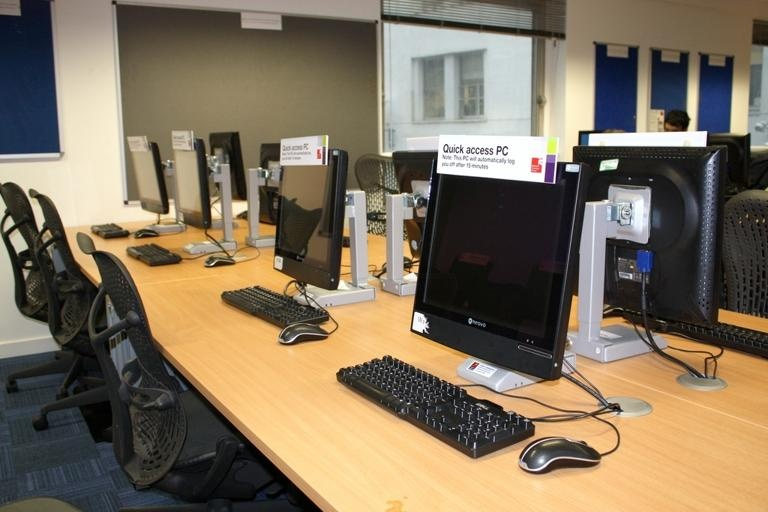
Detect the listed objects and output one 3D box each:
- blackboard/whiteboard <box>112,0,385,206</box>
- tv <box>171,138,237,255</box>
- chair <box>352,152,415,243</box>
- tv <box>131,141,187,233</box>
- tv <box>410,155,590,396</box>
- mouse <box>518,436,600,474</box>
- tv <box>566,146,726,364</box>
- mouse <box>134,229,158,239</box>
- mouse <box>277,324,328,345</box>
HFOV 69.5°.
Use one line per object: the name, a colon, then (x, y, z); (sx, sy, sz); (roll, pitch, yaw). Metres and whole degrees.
blackboard/whiteboard: (-1.209, -1.283, 4.450); (2.205, 1.517, 0.083); (-5, 9, -26)
tv: (-1.173, -0.395, 3.607); (0.369, 0.810, 0.687); (-6, 15, -34)
chair: (-0.055, -0.457, 4.021); (0.505, 0.790, 0.572); (-4, 9, -16)
tv: (-1.643, -0.493, 4.016); (0.303, 0.665, 0.659); (-6, 17, -33)
tv: (0.359, 0.065, 1.707); (0.354, 0.724, 0.657); (-5, 12, -40)
mouse: (0.435, 0.501, 1.391); (0.171, 0.060, 0.094); (-4, 6, -10)
tv: (0.868, -0.013, 1.849); (0.292, 0.726, 0.619); (-15, 19, -41)
mouse: (-1.714, -0.160, 3.975); (0.146, 0.047, 0.083); (-4, 12, -34)
mouse: (-0.310, 0.293, 2.074); (0.146, 0.046, 0.082); (-2, 3, -36)
